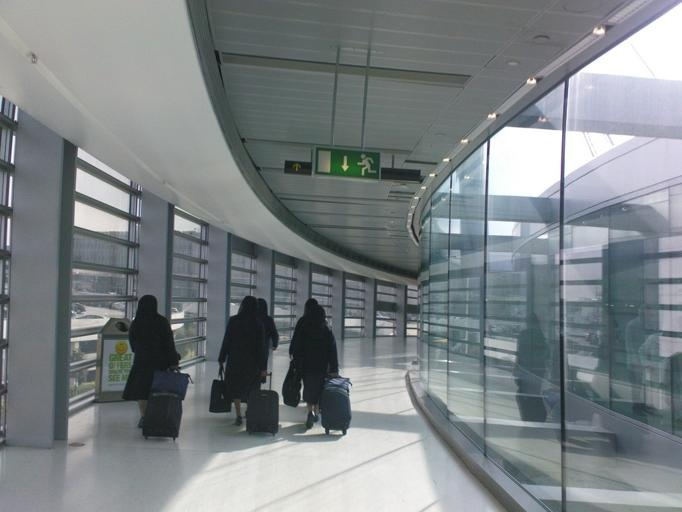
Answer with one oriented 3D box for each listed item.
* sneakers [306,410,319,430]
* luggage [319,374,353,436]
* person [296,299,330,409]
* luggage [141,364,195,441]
[{"bbox_3d":[-0.460,2.560,8.154,0.110,0.157,0.335,2,-6,4],"label":"sneakers"},{"bbox_3d":[-0.072,2.168,8.037,0.602,0.944,0.976,1,-4,2],"label":"luggage"},{"bbox_3d":[-0.477,1.673,8.512,0.707,2.107,0.602,1,19,0],"label":"person"},{"bbox_3d":[-2.438,2.057,7.276,0.558,0.936,0.514,3,-30,-3],"label":"luggage"}]
